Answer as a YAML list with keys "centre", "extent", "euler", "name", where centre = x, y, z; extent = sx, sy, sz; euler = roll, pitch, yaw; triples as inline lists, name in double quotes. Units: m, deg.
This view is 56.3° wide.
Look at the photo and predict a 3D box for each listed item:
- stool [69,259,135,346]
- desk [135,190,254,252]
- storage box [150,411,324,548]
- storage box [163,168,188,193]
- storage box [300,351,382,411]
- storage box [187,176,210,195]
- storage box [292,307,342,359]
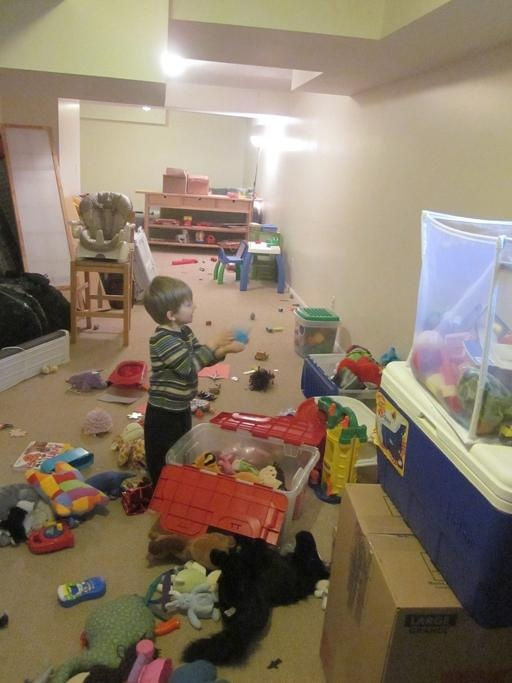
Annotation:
- centre: [-1.216, -0.294, 3.733]
  extent: [0.509, 0.765, 0.584]
  euler: [1, 41, -12]
  name: "stool"
- centre: [-0.945, -1.925, 7.775]
  extent: [1.830, 0.874, 0.569]
  euler: [1, 9, -11]
  name: "desk"
- centre: [-0.083, 0.474, 1.583]
  extent: [0.438, 0.200, 0.450]
  euler: [9, 31, 13]
  name: "storage box"
- centre: [-1.243, -2.516, 7.464]
  extent: [0.402, 0.402, 0.386]
  euler: [9, 28, 10]
  name: "storage box"
- centre: [0.420, 0.208, 2.684]
  extent: [0.219, 0.137, 0.361]
  euler: [0, 17, -3]
  name: "storage box"
- centre: [-0.928, -2.446, 7.476]
  extent: [0.321, 0.232, 0.317]
  euler: [3, 25, -4]
  name: "storage box"
- centre: [0.418, -0.080, 3.509]
  extent: [0.363, 0.405, 0.350]
  euler: [5, 27, -6]
  name: "storage box"
